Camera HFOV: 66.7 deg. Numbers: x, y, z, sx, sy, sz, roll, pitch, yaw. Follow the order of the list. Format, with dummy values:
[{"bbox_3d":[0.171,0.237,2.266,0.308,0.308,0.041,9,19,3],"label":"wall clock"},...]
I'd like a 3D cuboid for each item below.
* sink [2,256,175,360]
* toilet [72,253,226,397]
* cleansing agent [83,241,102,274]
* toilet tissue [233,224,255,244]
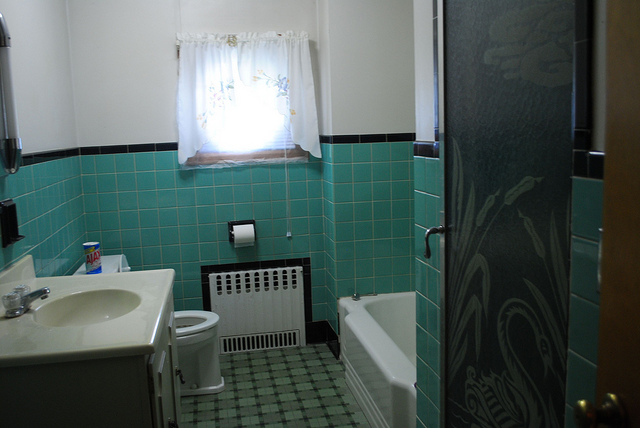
[{"bbox_3d":[-1.056,0.418,2.129,0.419,0.264,0.493,-1,14,-15],"label":"sink"},{"bbox_3d":[-0.837,0.963,3.371,0.312,0.554,0.374,-7,13,-19],"label":"toilet"},{"bbox_3d":[-1.420,0.274,3.011,0.099,0.185,0.102,-1,9,10],"label":"cleansing agent"},{"bbox_3d":[-0.587,0.146,3.726,0.166,0.162,0.128,-6,21,-8],"label":"toilet tissue"}]
